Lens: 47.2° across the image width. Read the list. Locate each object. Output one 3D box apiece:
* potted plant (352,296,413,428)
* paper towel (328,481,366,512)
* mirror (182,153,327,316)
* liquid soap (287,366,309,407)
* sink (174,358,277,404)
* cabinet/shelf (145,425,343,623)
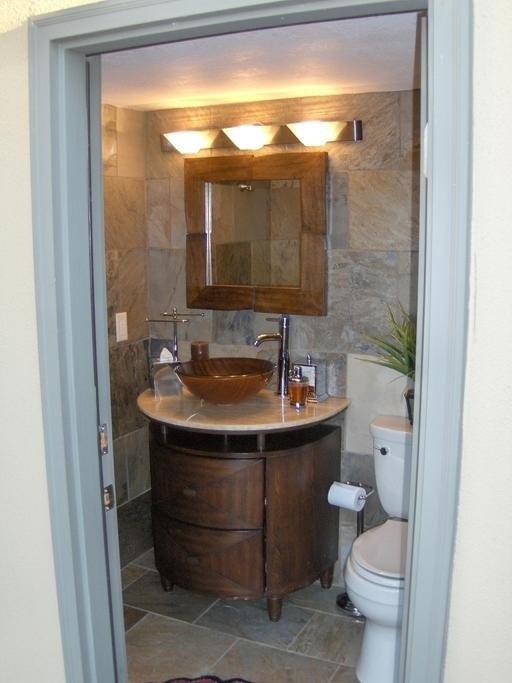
[{"bbox_3d":[0.599,0.059,2.378,0.322,0.447,0.411,6,30,24],"label":"potted plant"},{"bbox_3d":[0.348,0.587,2.278,0.141,0.123,0.108,-1,-4,38],"label":"paper towel"},{"bbox_3d":[0.019,-0.519,2.761,0.765,0.787,0.060,3,6,28],"label":"mirror"},{"bbox_3d":[0.191,0.196,2.627,0.086,0.169,0.213,1,7,3],"label":"liquid soap"},{"bbox_3d":[-0.138,0.187,2.609,0.430,0.178,0.549,0,7,-8],"label":"sink"},{"bbox_3d":[-0.060,0.532,2.710,0.980,0.981,0.738,-1,0,31],"label":"cabinet/shelf"}]
